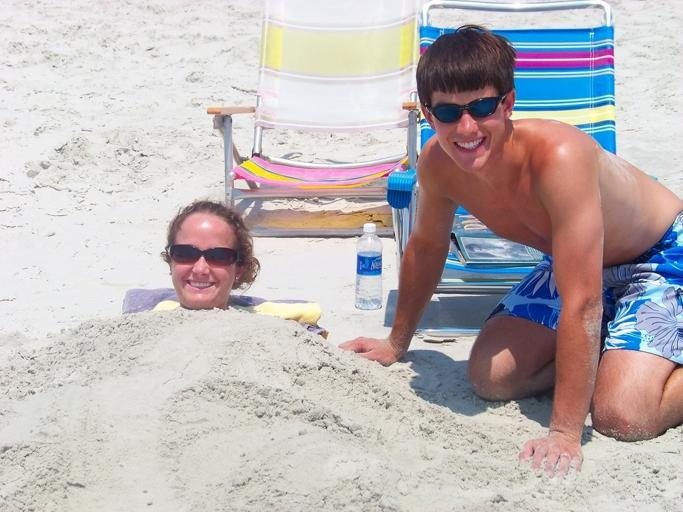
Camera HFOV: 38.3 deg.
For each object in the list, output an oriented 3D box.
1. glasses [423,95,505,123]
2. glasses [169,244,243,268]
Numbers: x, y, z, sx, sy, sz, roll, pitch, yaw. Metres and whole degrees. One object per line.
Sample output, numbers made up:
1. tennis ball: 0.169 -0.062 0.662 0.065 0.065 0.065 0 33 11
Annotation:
1. glasses: 0.507 -0.592 3.971 0.289 0.106 0.075 1 22 4
2. glasses: -0.614 0.000 4.387 0.305 0.130 0.146 -4 21 -8
